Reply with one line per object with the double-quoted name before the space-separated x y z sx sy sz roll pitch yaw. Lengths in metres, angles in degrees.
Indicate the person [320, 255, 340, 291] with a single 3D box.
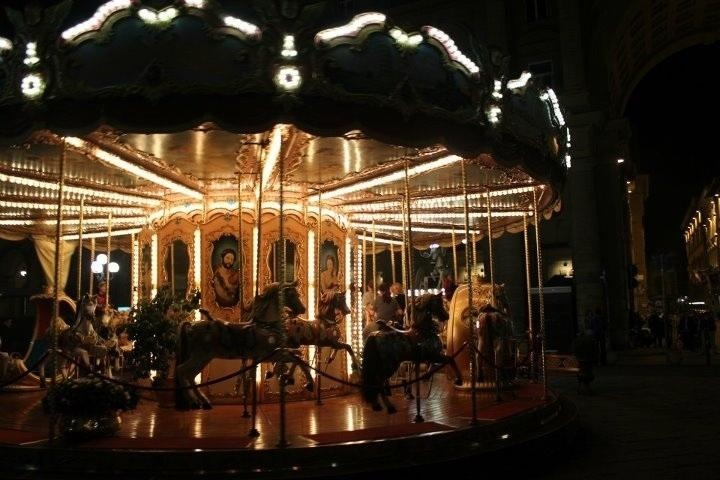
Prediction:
"person" -0.681 0.746 14.781 0.143 0.800 0.574 -11 -13 38
